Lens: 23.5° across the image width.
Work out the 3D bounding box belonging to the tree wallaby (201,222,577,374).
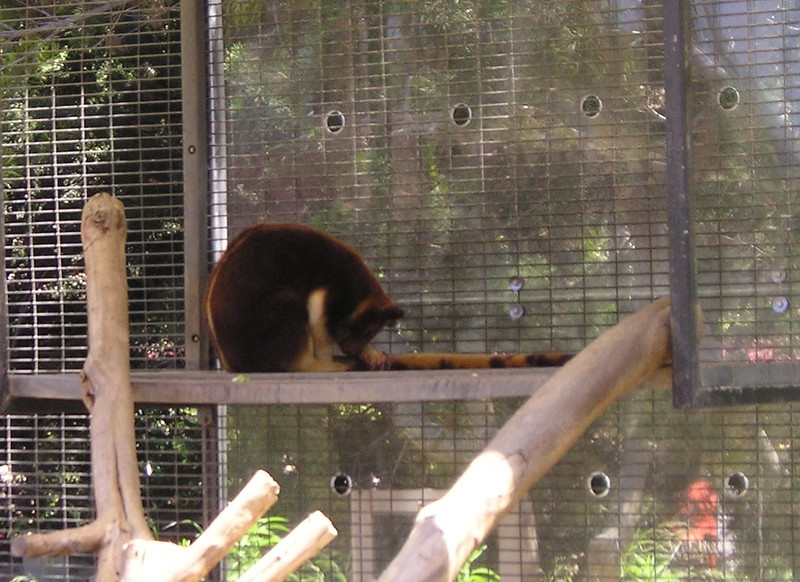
[{"bbox_3d":[0.053,0.055,7.950,1.662,0.636,0.601,1,0,6],"label":"tree wallaby"}]
